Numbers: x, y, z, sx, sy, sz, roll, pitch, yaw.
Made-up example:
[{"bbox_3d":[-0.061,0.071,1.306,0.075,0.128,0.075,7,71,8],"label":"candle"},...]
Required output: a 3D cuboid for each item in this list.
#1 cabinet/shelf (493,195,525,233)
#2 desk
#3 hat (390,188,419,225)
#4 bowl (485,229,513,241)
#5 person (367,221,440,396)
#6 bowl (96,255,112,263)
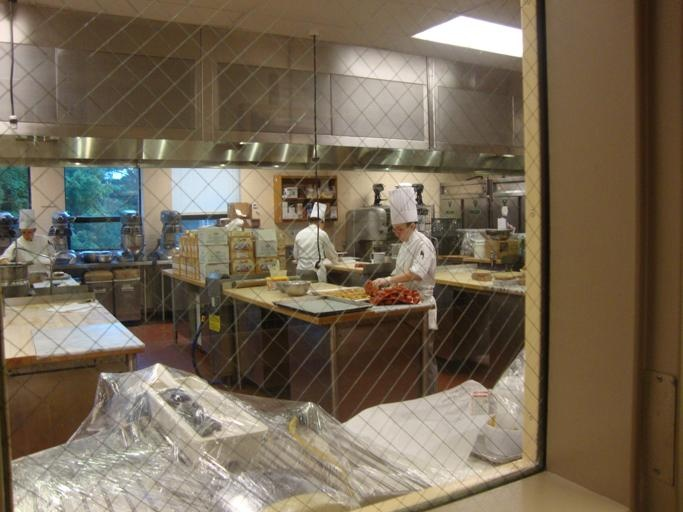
[{"bbox_3d":[1.351,-0.356,4.630,0.275,0.318,0.437,7,9,16],"label":"cabinet/shelf"},{"bbox_3d":[-1.184,0.481,2.422,0.457,0.481,0.942,-2,12,-37],"label":"desk"},{"bbox_3d":[0.320,-0.280,3.093,0.166,0.205,0.169,-10,12,-12],"label":"hat"},{"bbox_3d":[1.150,-0.152,4.178,0.189,0.082,0.125,8,9,15],"label":"bowl"},{"bbox_3d":[0.328,0.225,2.983,0.373,0.780,0.866,5,9,7],"label":"person"},{"bbox_3d":[-2.175,0.028,5.232,0.118,0.067,0.128,1,-2,0],"label":"bowl"}]
